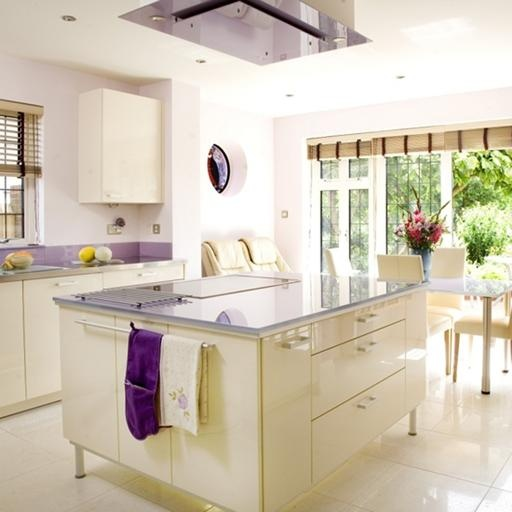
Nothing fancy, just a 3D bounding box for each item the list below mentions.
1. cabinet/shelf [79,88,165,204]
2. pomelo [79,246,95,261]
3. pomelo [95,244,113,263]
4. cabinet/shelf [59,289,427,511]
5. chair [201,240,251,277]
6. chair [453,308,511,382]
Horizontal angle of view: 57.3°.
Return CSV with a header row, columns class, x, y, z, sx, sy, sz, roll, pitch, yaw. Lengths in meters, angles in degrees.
class,x,y,z,sx,sy,sz,roll,pitch,yaw
cabinet/shelf,-1.167,-0.934,4.111,0.752,0.956,0.417,-3,3,-21
pomelo,-1.371,-0.012,3.855,0.117,0.120,0.125,-2,-1,-6
pomelo,-1.249,-0.003,3.834,0.122,0.130,0.135,-3,3,-27
cabinet/shelf,-0.010,0.500,2.260,1.154,0.676,1.363,1,3,41
chair,-0.393,0.032,5.551,0.440,0.587,0.469,-5,-2,-37
chair,1.710,0.658,3.623,0.466,0.723,0.443,2,0,30
